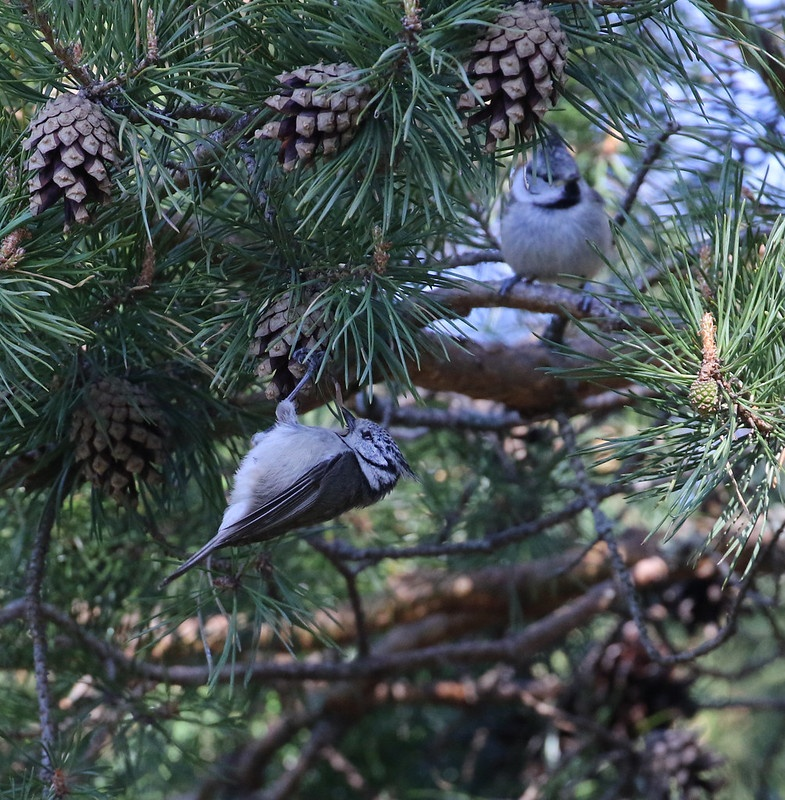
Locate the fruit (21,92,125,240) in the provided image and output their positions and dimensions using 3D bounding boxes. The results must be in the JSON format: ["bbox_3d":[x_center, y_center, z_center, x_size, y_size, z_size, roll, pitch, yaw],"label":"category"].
[{"bbox_3d":[-0.597,-0.413,1.860,0.169,0.222,0.169,29,28,34],"label":"fruit"}]

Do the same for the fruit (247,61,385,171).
[{"bbox_3d":[-0.152,-0.517,1.854,0.203,0.154,0.154,-38,111,-4],"label":"fruit"}]

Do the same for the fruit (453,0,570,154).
[{"bbox_3d":[0.214,-0.597,1.819,0.182,0.262,0.283,9,68,11],"label":"fruit"}]

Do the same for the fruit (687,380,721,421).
[{"bbox_3d":[0.572,-0.008,1.880,0.063,0.061,0.061,0,94,-6],"label":"fruit"}]

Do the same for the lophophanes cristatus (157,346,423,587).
[{"bbox_3d":[-0.213,0.215,2.184,0.249,0.183,0.548,40,66,-7],"label":"lophophanes cristatus"}]
